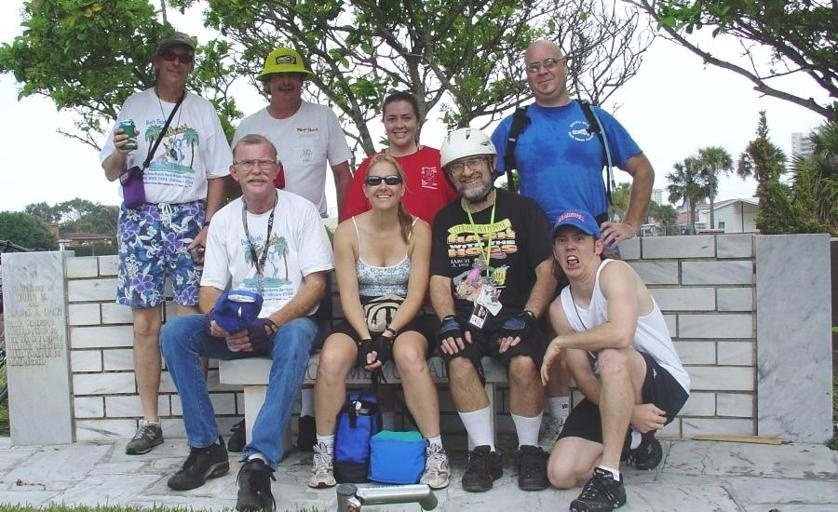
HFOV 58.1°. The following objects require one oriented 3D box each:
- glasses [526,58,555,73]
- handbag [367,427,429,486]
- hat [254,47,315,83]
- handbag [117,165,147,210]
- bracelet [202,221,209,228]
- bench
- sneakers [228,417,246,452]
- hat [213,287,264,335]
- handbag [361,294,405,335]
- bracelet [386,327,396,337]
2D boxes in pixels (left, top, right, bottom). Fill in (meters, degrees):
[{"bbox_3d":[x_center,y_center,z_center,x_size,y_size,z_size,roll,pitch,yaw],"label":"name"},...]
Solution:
[{"bbox_3d":[1.281,-1.973,7.808,0.313,0.123,0.065,-2,-3,9],"label":"glasses"},{"bbox_3d":[-0.195,1.879,7.080,0.568,0.478,0.157,-2,-3,-4],"label":"handbag"},{"bbox_3d":[-1.492,-2.168,8.421,0.593,0.338,0.271,-1,-3,-10],"label":"hat"},{"bbox_3d":[-2.933,-0.703,7.737,0.219,0.418,0.147,-1,-3,-25],"label":"handbag"},{"bbox_3d":[-2.240,-0.338,7.935,0.079,0.054,0.075,3,-5,-28],"label":"bracelet"},{"bbox_3d":[-0.188,1.619,8.198,0.869,0.961,2.919,30,-30,-34],"label":"bench"},{"bbox_3d":[-1.928,1.904,8.024,0.266,0.294,0.114,-1,-14,-2],"label":"sneakers"},{"bbox_3d":[-1.716,0.475,7.174,0.472,0.473,0.181,5,-38,-7],"label":"hat"},{"bbox_3d":[-0.341,0.561,7.447,0.395,0.388,0.251,-2,-3,-2],"label":"handbag"},{"bbox_3d":[-0.269,0.725,7.279,0.058,0.087,0.109,-5,-5,41],"label":"bracelet"}]
